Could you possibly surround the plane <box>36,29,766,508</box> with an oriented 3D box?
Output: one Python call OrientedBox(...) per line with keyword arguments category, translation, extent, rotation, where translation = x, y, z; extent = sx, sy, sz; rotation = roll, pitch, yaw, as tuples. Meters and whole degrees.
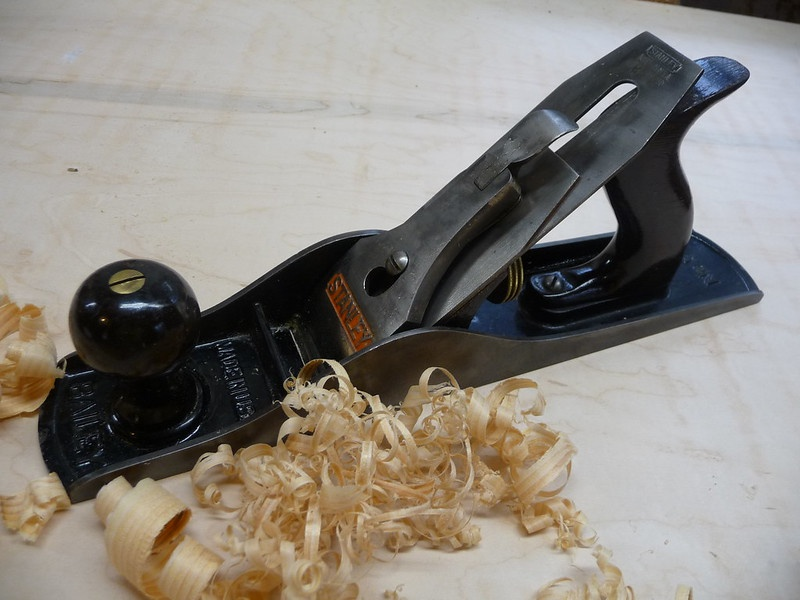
OrientedBox(category="plane", translation=(0.050, -0.132, 2.167), extent=(2.134, 0.664, 0.508), rotation=(-14, 38, -14))
